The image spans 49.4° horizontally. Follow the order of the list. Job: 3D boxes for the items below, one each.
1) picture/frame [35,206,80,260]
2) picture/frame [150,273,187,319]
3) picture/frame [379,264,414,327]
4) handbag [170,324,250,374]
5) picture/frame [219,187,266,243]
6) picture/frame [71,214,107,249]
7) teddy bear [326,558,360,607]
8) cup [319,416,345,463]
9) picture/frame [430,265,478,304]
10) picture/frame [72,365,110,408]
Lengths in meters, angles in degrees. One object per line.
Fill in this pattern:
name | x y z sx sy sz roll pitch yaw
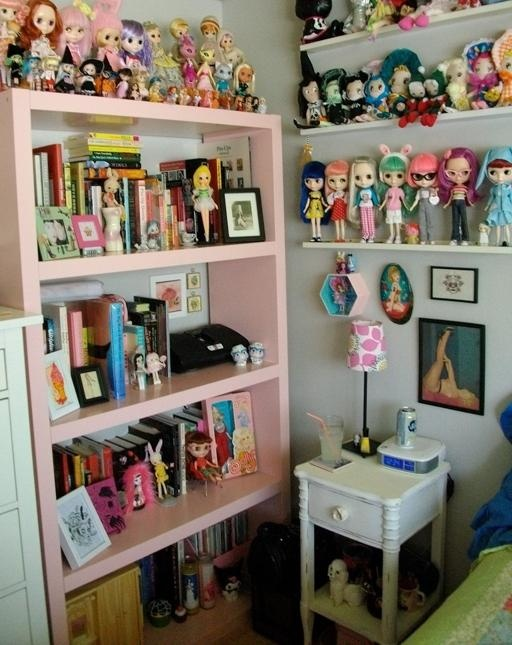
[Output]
picture/frame | -0.514 -0.229 1.423 0.104 0.137 0.116 -11 10 -29
picture/frame | -0.336 -0.105 2.086 0.008 0.153 0.172 9 15 38
picture/frame | 0.473 -0.095 1.896 0.030 0.209 0.133 -12 11 -33
handbag | -0.202 0.095 2.061 0.219 0.062 0.178 -12 24 -37
picture/frame | -0.054 -0.369 1.933 0.217 0.232 0.016 -3 -7 -38
picture/frame | -0.464 -0.249 1.526 0.010 0.116 0.111 -19 0 33
teddy bear | 0.288 0.828 1.783 0.122 0.125 0.089 3 -6 2
cup | 0.262 0.389 1.805 0.097 0.140 0.091 -3 -10 0
picture/frame | 0.621 -0.121 1.722 0.013 0.085 0.122 -8 12 -40
picture/frame | -0.500 0.184 1.636 0.067 0.110 0.098 -4 1 31
